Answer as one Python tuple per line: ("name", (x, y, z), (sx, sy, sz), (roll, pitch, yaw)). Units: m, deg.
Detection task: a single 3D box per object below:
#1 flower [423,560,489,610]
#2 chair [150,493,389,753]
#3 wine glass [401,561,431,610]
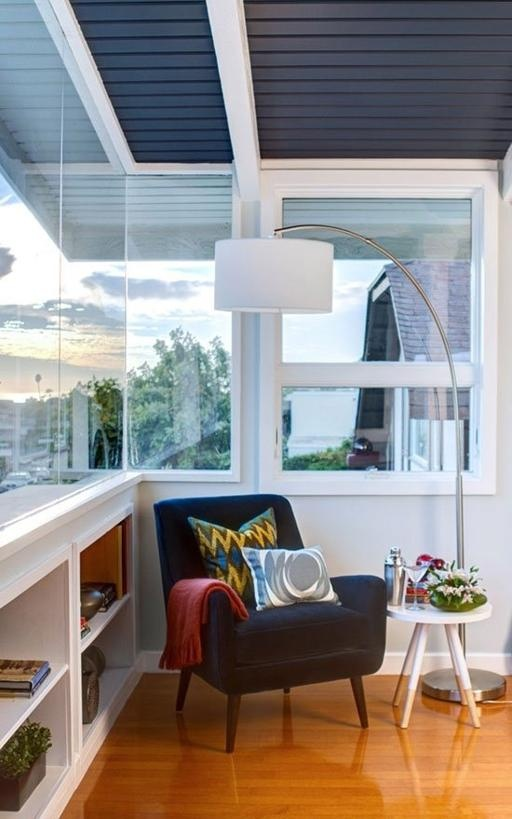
("flower", (0.789, 0.684, 2.742), (0.186, 0.126, 0.198), (2, -7, -8))
("chair", (0.020, 0.783, 2.842), (0.752, 1.027, 0.925), (4, -11, -23))
("wine glass", (0.610, 0.720, 2.786), (0.155, 0.200, 0.170), (0, -11, 5))
